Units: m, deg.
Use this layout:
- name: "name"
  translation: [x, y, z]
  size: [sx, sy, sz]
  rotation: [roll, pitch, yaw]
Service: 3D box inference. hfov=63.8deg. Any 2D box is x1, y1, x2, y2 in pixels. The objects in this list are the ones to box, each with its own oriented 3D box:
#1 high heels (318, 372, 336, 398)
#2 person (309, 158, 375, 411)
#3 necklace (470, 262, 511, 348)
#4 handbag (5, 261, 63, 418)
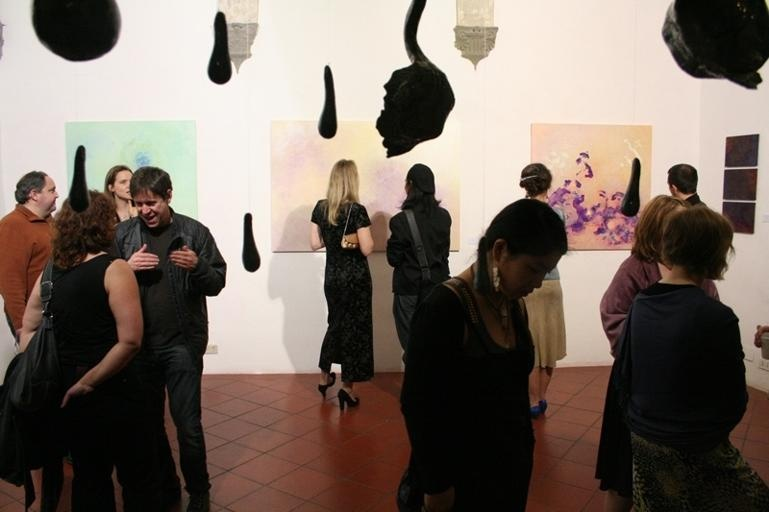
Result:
- name: "high heels"
  translation: [-0.560, 1.242, 6.096]
  size: [0.101, 0.152, 0.342]
  rotation: [1, 29, 5]
- name: "person"
  translation: [-0.402, 0.265, 5.796]
  size: [0.628, 2.289, 0.465]
  rotation: [2, 10, 14]
- name: "necklace"
  translation: [0.497, 0.221, 3.002]
  size: [0.189, 0.402, 0.082]
  rotation: [-13, -1, -26]
- name: "handbag"
  translation: [-2.055, 0.480, 3.562]
  size: [0.310, 0.822, 0.255]
  rotation: [-6, 11, -31]
